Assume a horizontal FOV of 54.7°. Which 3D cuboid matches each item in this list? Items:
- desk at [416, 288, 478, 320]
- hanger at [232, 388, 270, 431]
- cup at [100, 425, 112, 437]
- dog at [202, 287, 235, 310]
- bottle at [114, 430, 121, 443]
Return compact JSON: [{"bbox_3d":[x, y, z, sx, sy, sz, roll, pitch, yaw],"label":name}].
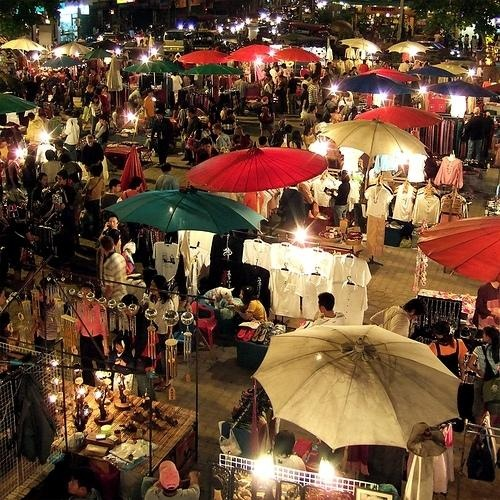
[{"bbox_3d":[2.804,0.694,6.951,0.727,0.445,0.933,-5,14,27],"label":"desk"},{"bbox_3d":[0.015,1.580,4.773,0.261,0.132,0.415,4,49,21],"label":"hanger"},{"bbox_3d":[-1.414,1.788,4.792,0.073,0.070,0.087,4,21,3],"label":"cup"},{"bbox_3d":[-0.502,0.759,7.580,0.377,0.252,0.502,18,20,42],"label":"dog"},{"bbox_3d":[-1.292,1.842,4.751,0.068,0.133,0.079,-1,17,-3],"label":"bottle"}]
